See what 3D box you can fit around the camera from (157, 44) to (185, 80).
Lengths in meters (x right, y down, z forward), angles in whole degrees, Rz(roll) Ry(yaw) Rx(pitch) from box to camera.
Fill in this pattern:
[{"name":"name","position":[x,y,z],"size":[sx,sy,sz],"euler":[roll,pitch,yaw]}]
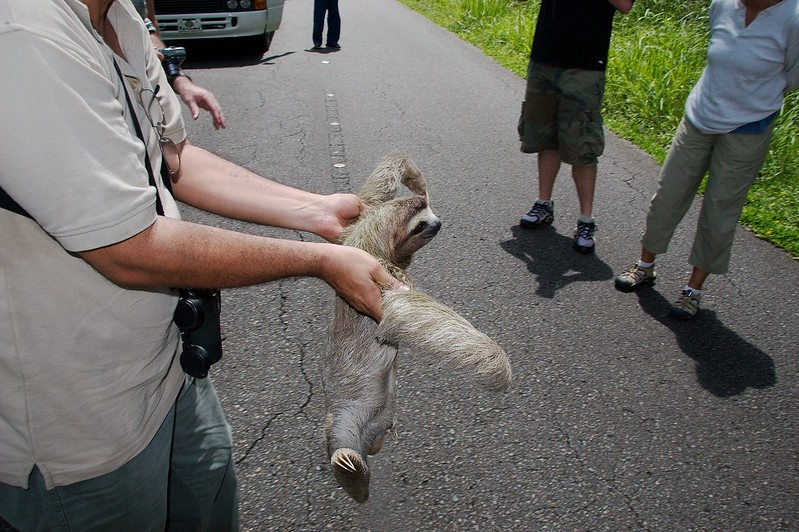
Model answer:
[{"name":"camera","position":[-1.200,-1.058,3.068],"size":[0.105,0.149,0.186],"euler":[19,31,34]}]

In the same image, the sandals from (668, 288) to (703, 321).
[{"name":"sandals","position":[2.173,0.296,4.460],"size":[0.142,0.132,0.362],"euler":[30,28,30]}]
